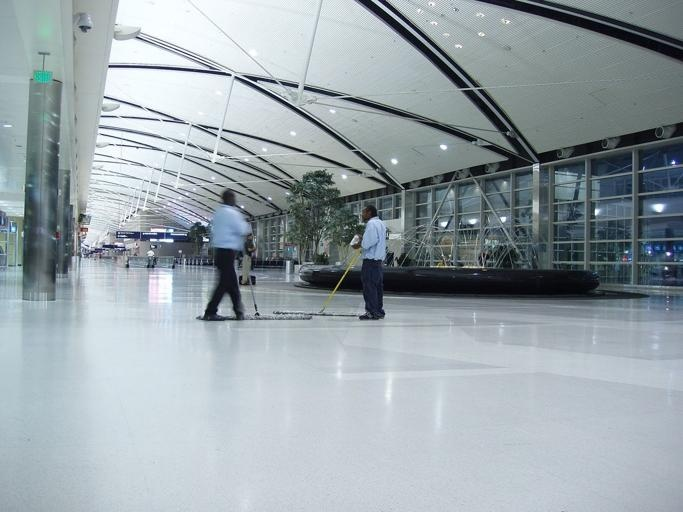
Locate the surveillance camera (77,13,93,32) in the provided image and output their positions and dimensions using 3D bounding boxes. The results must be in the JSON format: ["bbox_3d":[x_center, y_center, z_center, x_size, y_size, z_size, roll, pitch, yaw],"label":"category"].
[{"bbox_3d":[-5.471,-5.044,10.035,0.390,0.314,0.239,1,0,33],"label":"surveillance camera"}]

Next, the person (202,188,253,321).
[{"bbox_3d":[-1.731,-0.018,7.007,0.617,1.906,0.653,5,4,-29],"label":"person"}]

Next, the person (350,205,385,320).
[{"bbox_3d":[0.523,0.059,7.923,0.452,1.916,1.034,1,1,4],"label":"person"}]
